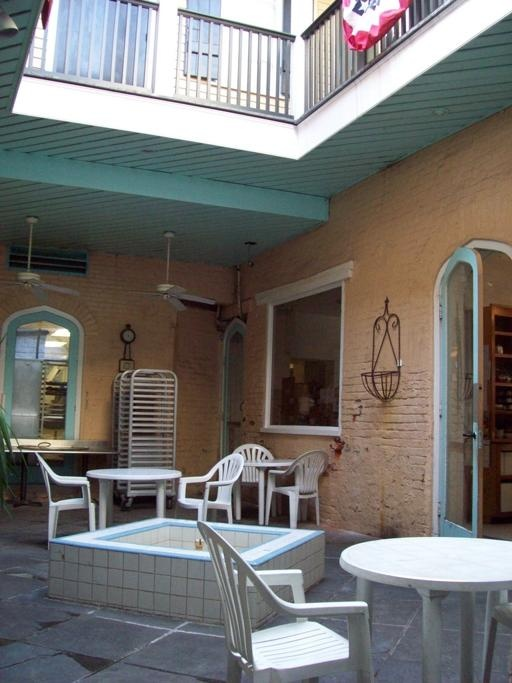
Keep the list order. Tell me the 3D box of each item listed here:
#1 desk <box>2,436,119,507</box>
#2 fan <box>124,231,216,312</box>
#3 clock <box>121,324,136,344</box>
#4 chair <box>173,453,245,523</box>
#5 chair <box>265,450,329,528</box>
[{"bbox_3d":[-2.835,1.730,7.789,1.265,0.823,0.708,-5,-4,6],"label":"desk"},{"bbox_3d":[-1.067,-0.959,7.376,0.865,0.814,0.896,8,10,26],"label":"fan"},{"bbox_3d":[-1.866,-0.097,8.523,0.268,0.362,0.107,3,-7,-38],"label":"clock"},{"bbox_3d":[-0.401,1.261,4.711,0.541,0.677,0.574,1,-7,1],"label":"chair"},{"bbox_3d":[0.412,1.503,5.987,0.596,0.752,0.562,-5,-11,34],"label":"chair"}]
